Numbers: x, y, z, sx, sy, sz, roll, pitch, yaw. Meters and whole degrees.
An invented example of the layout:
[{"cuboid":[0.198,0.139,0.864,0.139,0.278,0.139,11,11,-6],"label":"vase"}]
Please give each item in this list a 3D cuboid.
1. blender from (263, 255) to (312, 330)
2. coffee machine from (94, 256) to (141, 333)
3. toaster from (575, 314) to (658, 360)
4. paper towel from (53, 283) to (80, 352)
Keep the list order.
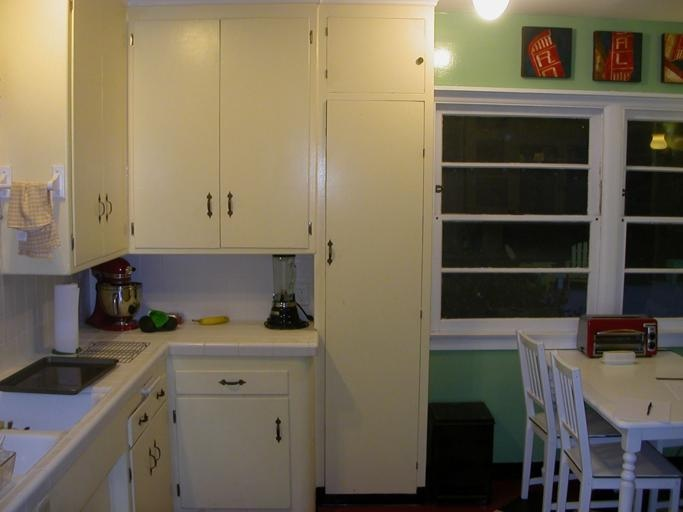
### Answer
[{"cuboid":[-0.349,0.215,3.921,0.269,0.444,0.211,-3,7,-8],"label":"blender"},{"cuboid":[-1.343,0.244,3.750,0.431,0.462,0.276,1,6,10],"label":"coffee machine"},{"cuboid":[1.700,0.477,3.946,0.373,0.272,0.241,2,5,-4],"label":"toaster"},{"cuboid":[-1.463,0.332,3.381,0.100,0.345,0.159,1,9,-21],"label":"paper towel"}]
